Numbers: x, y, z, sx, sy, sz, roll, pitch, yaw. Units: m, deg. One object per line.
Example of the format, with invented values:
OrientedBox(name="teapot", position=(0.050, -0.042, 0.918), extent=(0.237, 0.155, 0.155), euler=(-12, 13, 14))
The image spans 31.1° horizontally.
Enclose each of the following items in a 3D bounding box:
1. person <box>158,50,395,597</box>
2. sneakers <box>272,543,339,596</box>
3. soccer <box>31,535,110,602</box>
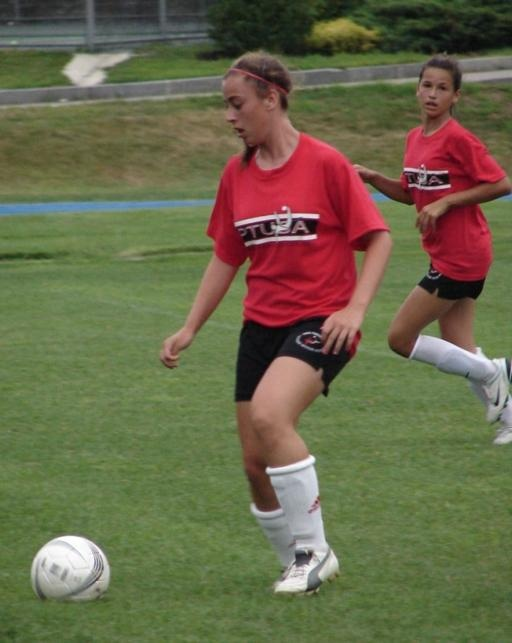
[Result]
OrientedBox(name="person", position=(0.100, -0.006, 3.053), extent=(0.719, 1.748, 1.082), euler=(-5, 20, -11))
OrientedBox(name="sneakers", position=(0.159, 0.768, 2.876), extent=(0.105, 0.096, 0.268), euler=(-3, 8, 41))
OrientedBox(name="soccer", position=(-0.588, 0.799, 2.963), extent=(0.231, 0.170, 0.167), euler=(4, 18, 12))
